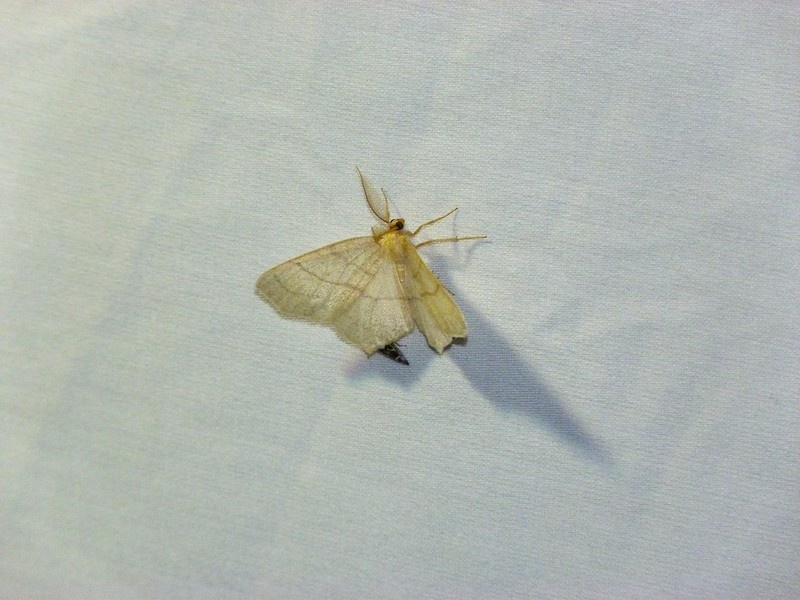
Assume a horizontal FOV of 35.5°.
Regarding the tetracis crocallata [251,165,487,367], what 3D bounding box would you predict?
[{"bbox_3d":[-0.006,-0.068,2.673,0.426,0.150,0.384,30,75,8],"label":"tetracis crocallata"}]
